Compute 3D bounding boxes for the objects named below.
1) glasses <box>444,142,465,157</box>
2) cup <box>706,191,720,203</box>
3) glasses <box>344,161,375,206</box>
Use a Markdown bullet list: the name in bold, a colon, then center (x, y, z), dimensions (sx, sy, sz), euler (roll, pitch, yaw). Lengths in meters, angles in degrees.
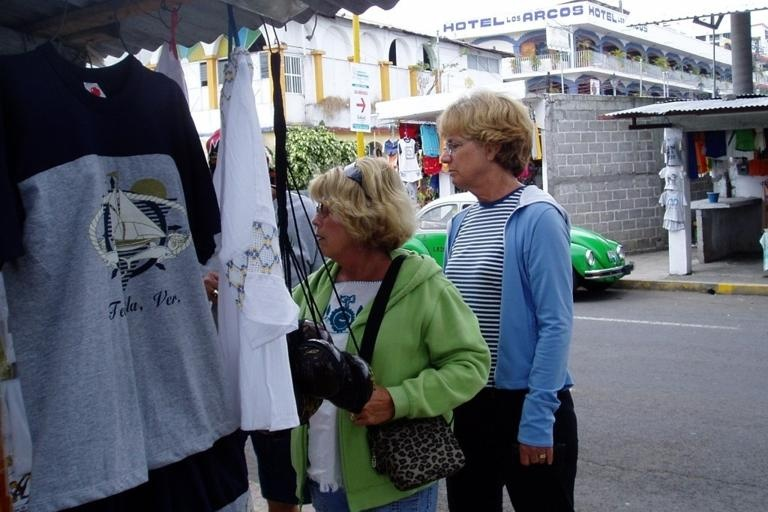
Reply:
- **glasses**: center (0.360, -0.557, 3.387), dimensions (0.084, 0.035, 0.081), euler (-1, -5, -30)
- **cup**: center (7.189, -1.258, 14.176), dimensions (0.263, 0.203, 0.268), euler (-1, -3, 0)
- **glasses**: center (-0.131, -0.333, 2.944), dimensions (0.051, 0.167, 0.126), euler (-46, 31, -22)
